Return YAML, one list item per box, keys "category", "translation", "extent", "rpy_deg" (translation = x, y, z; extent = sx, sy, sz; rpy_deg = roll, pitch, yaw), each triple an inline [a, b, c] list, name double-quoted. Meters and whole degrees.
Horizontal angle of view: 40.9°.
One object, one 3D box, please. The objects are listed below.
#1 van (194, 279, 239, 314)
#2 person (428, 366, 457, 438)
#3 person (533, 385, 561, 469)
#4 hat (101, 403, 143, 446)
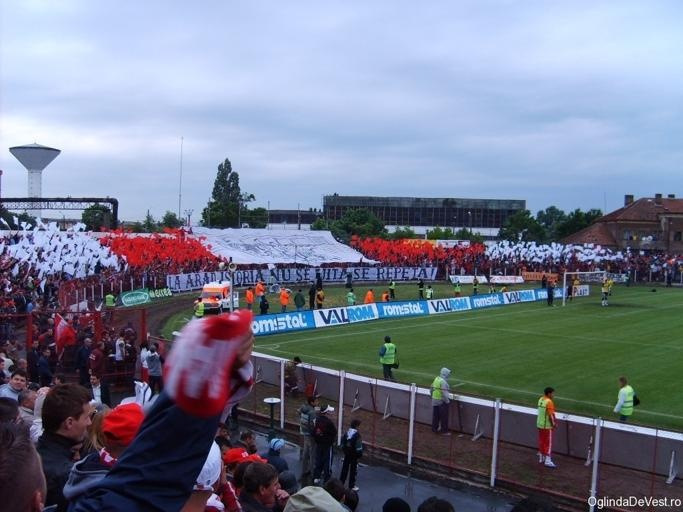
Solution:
- category: "van"
  translation: [-7.172, 2.341, 51.411]
  extent: [2.719, 2.220, 3.917]
  rpy_deg: [-2, -2, 9]
- category: "person"
  translation: [3.254, 4.748, 30.196]
  extent: [0.680, 2.035, 0.646]
  rpy_deg: [-1, 1, 5]
- category: "person"
  translation: [6.278, 5.251, 28.095]
  extent: [0.546, 2.350, 0.622]
  rpy_deg: [-1, 1, 8]
- category: "hat"
  translation: [-4.503, 3.396, 18.889]
  extent: [0.696, 0.453, 0.984]
  rpy_deg: [-7, 39, 8]
